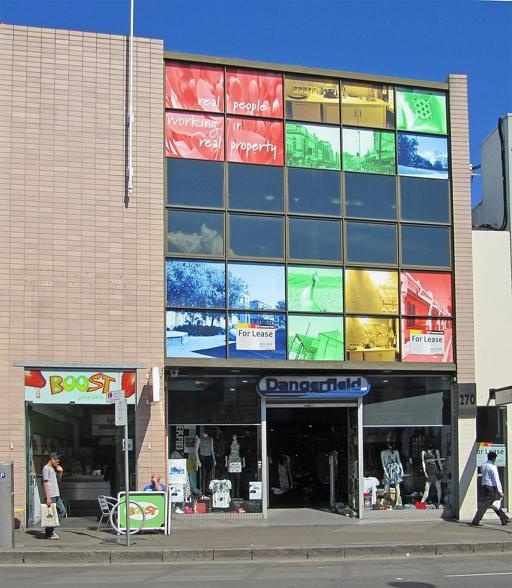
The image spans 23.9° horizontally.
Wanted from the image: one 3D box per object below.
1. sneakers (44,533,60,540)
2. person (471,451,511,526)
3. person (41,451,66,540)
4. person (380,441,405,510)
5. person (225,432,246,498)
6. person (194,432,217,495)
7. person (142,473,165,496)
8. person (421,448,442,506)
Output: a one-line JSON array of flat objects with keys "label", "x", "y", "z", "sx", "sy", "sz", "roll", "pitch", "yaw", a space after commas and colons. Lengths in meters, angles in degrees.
[{"label": "sneakers", "x": -3.832, "y": 4.668, "z": 22.959, "sx": 0.098, "sy": 0.140, "sz": 0.309, "roll": 7, "pitch": -22, "yaw": -31}, {"label": "person", "x": 5.092, "y": 4.285, "z": 26.385, "sx": 0.808, "sy": 1.609, "sz": 2.269, "roll": -3, "pitch": -9, "yaw": 12}, {"label": "person", "x": -3.988, "y": 4.040, "z": 24.030, "sx": 0.368, "sy": 1.713, "sz": 2.407, "roll": 0, "pitch": -9, "yaw": -9}, {"label": "person", "x": 3.126, "y": 4.117, "z": 27.357, "sx": 0.384, "sy": 1.543, "sz": 0.407, "roll": -5, "pitch": 12, "yaw": -2}, {"label": "person", "x": -0.421, "y": 3.814, "z": 26.497, "sx": 0.403, "sy": 1.360, "sz": 0.122, "roll": -1, "pitch": -7, "yaw": -3}, {"label": "person", "x": -1.072, "y": 3.712, "z": 26.369, "sx": 0.434, "sy": 1.390, "sz": 0.186, "roll": -1, "pitch": -7, "yaw": -4}, {"label": "person", "x": -2.026, "y": 3.954, "z": 24.807, "sx": 0.339, "sy": 0.436, "sz": 0.730, "roll": -4, "pitch": 24, "yaw": 3}, {"label": "person", "x": 3.981, "y": 4.075, "z": 27.509, "sx": 0.479, "sy": 1.736, "sz": 0.381, "roll": -8, "pitch": 23, "yaw": 2}]
